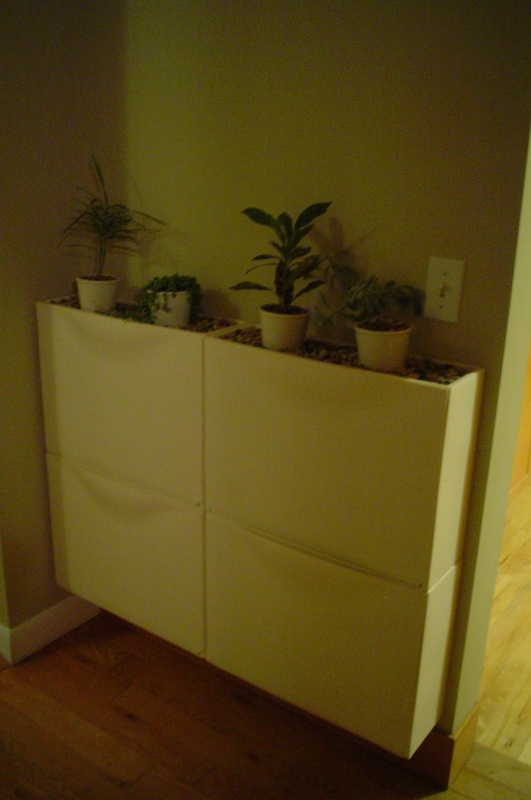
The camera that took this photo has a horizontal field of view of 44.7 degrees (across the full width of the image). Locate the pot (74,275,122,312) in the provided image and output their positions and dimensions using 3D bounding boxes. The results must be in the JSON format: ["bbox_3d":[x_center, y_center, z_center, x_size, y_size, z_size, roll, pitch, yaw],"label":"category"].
[{"bbox_3d":[-0.460,-0.297,1.757,0.101,0.074,0.099,2,20,-1],"label":"pot"}]

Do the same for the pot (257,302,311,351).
[{"bbox_3d":[0.041,-0.160,1.409,0.099,0.074,0.097,4,17,-1],"label":"pot"}]

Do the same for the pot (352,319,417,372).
[{"bbox_3d":[0.235,-0.110,1.300,0.097,0.074,0.101,1,16,0],"label":"pot"}]

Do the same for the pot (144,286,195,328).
[{"bbox_3d":[-0.229,-0.226,1.550,0.089,0.070,0.094,0,18,0],"label":"pot"}]
